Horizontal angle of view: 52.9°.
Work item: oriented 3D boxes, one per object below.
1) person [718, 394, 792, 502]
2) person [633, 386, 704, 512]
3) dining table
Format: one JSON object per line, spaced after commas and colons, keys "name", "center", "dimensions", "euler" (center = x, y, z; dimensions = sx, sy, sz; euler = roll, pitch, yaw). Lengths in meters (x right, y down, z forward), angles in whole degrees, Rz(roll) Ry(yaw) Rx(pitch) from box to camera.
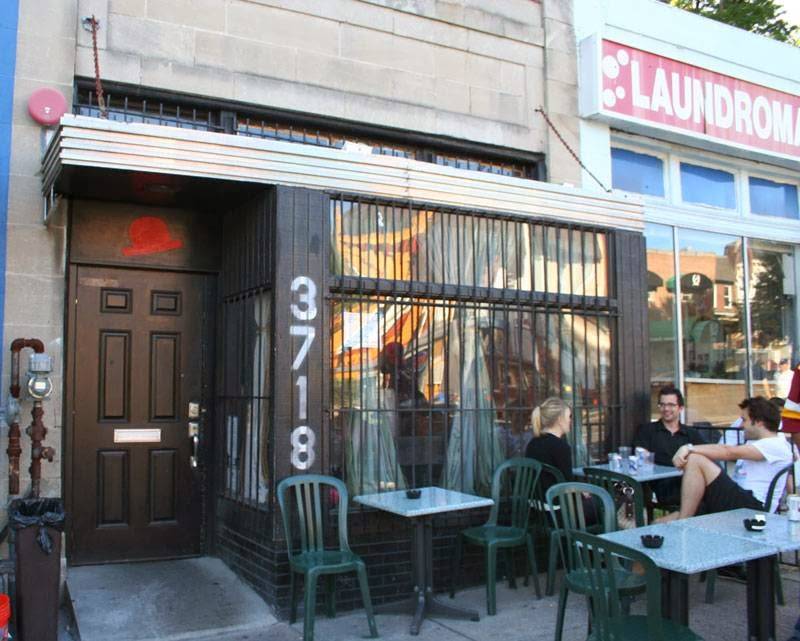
{"name": "person", "center": [3.057, 1.102, 7.053], "dimensions": [0.614, 1.339, 0.827], "euler": [-1, -14, 25]}
{"name": "person", "center": [2.580, 1.175, 7.605], "dimensions": [0.561, 1.190, 0.704], "euler": [-14, -30, 30]}
{"name": "dining table", "center": [2.058, 1.392, 7.005], "dimensions": [0.650, 0.723, 0.689], "euler": [-8, -16, 31]}
